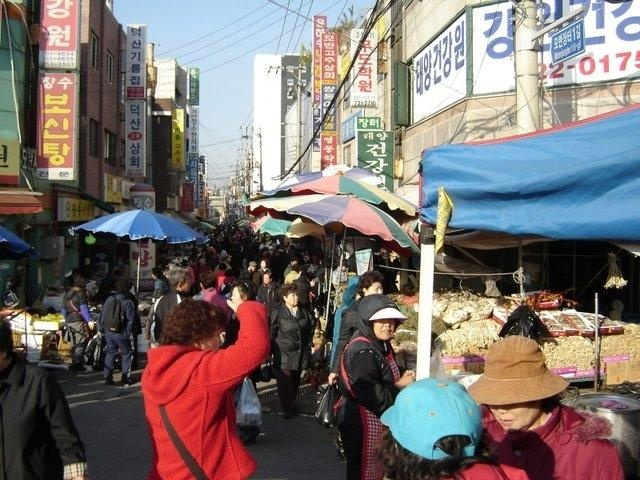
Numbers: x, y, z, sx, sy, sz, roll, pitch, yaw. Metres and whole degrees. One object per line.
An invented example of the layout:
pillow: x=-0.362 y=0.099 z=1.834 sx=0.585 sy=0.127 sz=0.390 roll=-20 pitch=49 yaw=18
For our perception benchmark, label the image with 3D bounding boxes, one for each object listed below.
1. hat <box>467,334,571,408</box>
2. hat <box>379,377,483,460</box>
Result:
hat: x=1.325 y=0.915 z=4.741 sx=0.499 sy=0.284 sz=0.530 roll=-10 pitch=6 yaw=17
hat: x=0.702 y=1.077 z=4.363 sx=0.400 sy=0.313 sz=0.513 roll=-19 pitch=36 yaw=-31
